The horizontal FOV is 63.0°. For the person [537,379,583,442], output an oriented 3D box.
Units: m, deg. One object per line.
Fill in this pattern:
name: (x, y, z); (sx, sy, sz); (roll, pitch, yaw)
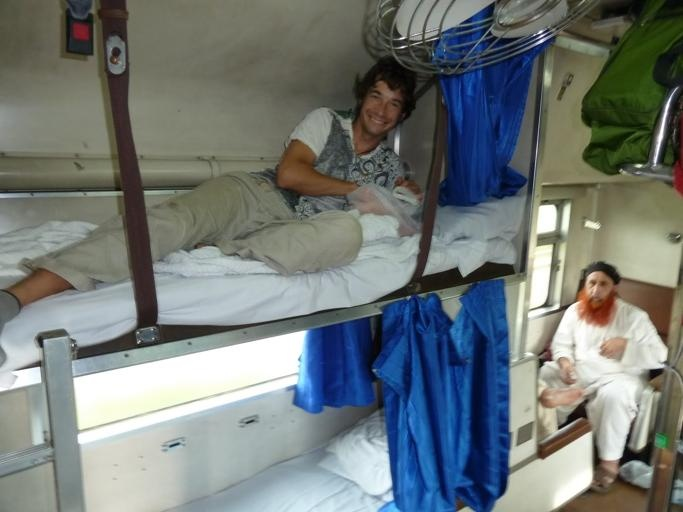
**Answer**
person: (1.512, 1.056, 3.961); (0.250, 0.345, 0.730); (-6, 2, 36)

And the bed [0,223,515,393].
bed: (-0.307, 0.007, 2.824); (2.639, 0.715, 0.983); (-8, 1, -20)

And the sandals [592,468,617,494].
sandals: (1.901, 1.631, 4.053); (0.286, 0.123, 0.095); (31, -37, -30)

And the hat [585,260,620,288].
hat: (1.985, 0.117, 4.241); (0.202, 0.190, 0.085); (22, 1, 6)

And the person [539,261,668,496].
person: (1.852, 0.829, 4.186); (0.933, 1.515, 0.855); (2, 5, 1)
